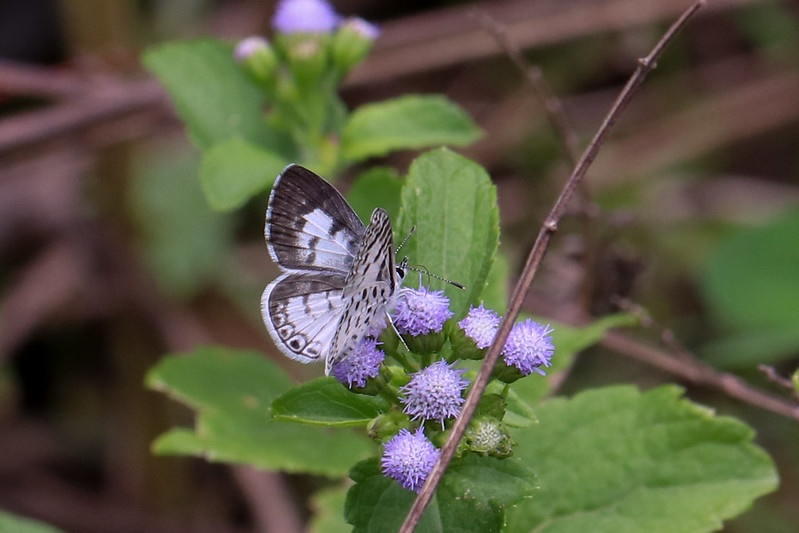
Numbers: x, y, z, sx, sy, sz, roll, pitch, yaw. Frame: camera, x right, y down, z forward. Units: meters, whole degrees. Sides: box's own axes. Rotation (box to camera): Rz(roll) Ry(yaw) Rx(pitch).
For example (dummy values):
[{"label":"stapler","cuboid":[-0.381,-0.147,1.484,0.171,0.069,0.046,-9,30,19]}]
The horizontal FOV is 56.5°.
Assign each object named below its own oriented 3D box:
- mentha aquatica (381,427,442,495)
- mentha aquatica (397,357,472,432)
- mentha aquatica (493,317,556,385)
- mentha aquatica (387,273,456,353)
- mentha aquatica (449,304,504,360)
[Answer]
[{"label":"mentha aquatica","cuboid":[0.067,1.164,4.526,0.331,0.222,0.314,13,46,17]},{"label":"mentha aquatica","cuboid":[0.215,0.799,4.588,0.365,0.208,0.400,4,74,14]},{"label":"mentha aquatica","cuboid":[0.769,0.531,4.704,0.389,0.293,0.354,-3,43,1]},{"label":"mentha aquatica","cuboid":[0.125,0.325,4.806,0.397,0.244,0.340,-8,44,-4]},{"label":"mentha aquatica","cuboid":[0.478,0.431,4.671,0.190,0.302,0.189,37,32,29]}]
